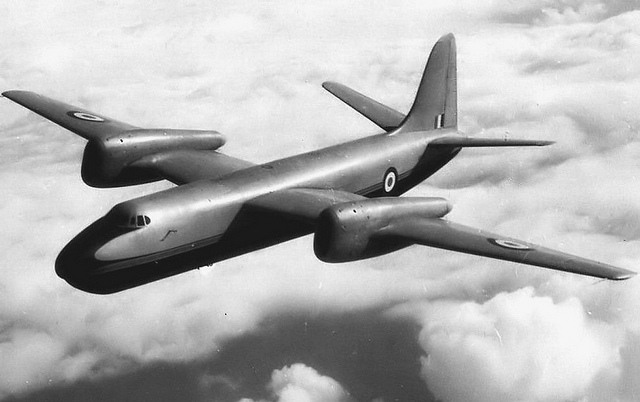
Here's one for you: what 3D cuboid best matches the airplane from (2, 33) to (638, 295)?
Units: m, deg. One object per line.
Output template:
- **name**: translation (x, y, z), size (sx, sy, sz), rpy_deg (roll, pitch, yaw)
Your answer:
- **airplane**: translation (-1.211, -1.474, 23.957), size (17.893, 4.909, 10.554), rpy_deg (-3, 30, -1)
